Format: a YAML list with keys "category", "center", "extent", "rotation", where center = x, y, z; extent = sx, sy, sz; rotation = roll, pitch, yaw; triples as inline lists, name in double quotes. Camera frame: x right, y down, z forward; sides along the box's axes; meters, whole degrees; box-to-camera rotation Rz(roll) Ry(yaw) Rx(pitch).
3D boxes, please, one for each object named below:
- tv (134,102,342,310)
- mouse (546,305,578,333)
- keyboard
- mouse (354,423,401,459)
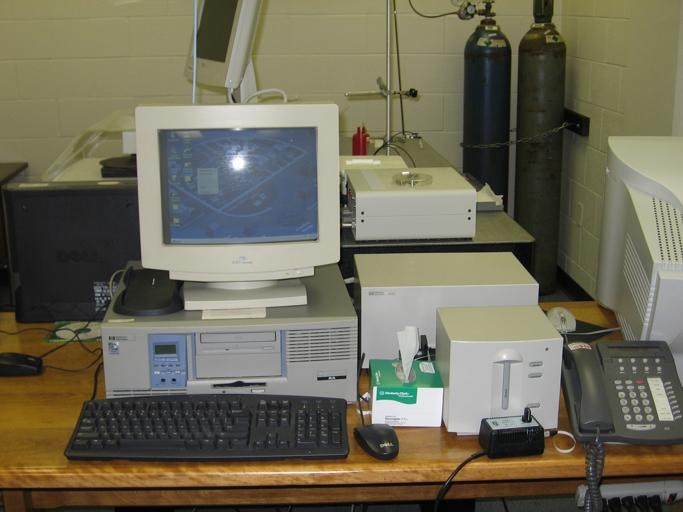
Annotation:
- category: "tv"
  center: [-0.257, -0.124, 1.622]
  extent: [0.489, 0.479, 0.335]
  rotation: [-3, 6, -9]
- category: "mouse"
  center: [0.603, 0.172, 1.749]
  extent: [0.076, 0.035, 0.105]
  rotation: [-3, 23, 2]
- category: "keyboard"
  center: [-0.283, 0.365, 1.376]
  extent: [0.583, 0.112, 0.143]
  rotation: [-4, 16, 1]
- category: "mouse"
  center: [0.076, 0.397, 1.373]
  extent: [0.083, 0.045, 0.083]
  rotation: [-8, 16, -12]
